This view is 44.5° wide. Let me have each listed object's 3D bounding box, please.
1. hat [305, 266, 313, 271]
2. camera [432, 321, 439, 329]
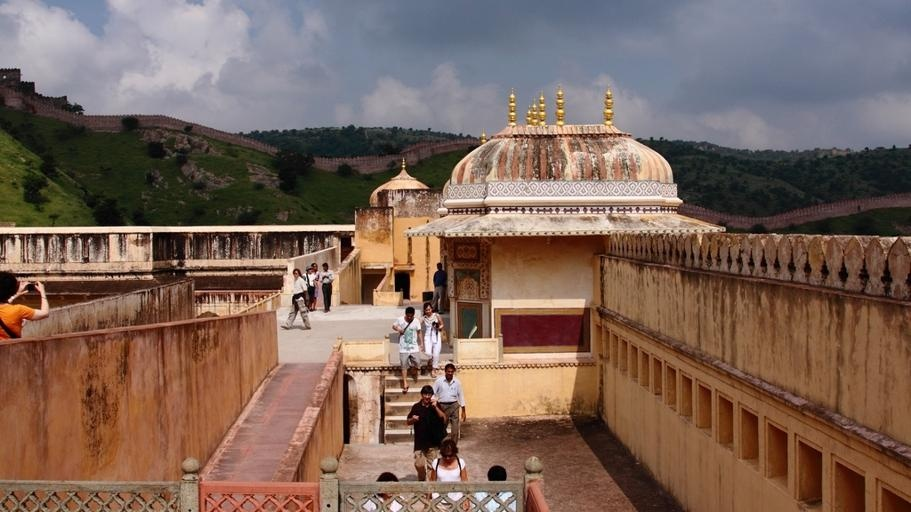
[{"bbox_3d":[-5.403,0.418,41.085,0.298,0.094,0.307,-1,-2,-6],"label":"hat"},{"bbox_3d":[-0.614,2.087,33.991,0.186,0.225,0.207,10,17,-3],"label":"camera"}]
